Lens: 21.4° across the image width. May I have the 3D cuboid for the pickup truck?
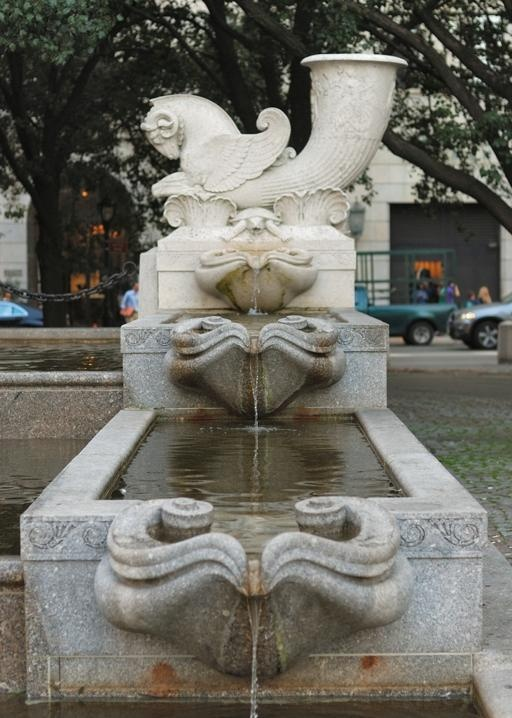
[{"bbox_3d":[2.316,-0.797,25.808,2.465,1.007,1.248,1,8,-4],"label":"pickup truck"}]
